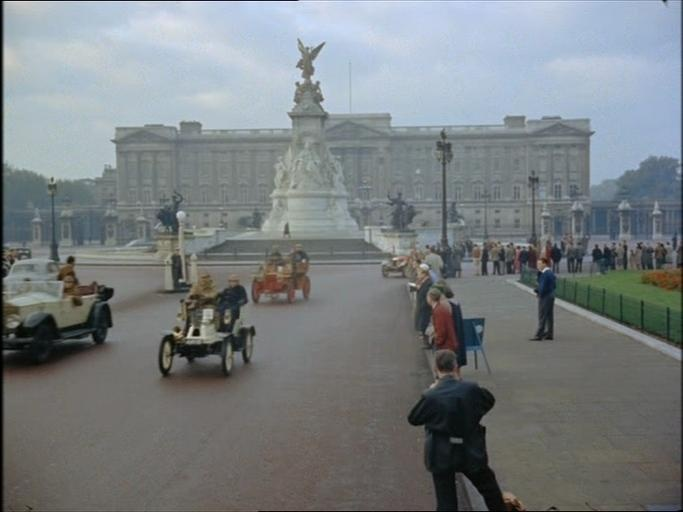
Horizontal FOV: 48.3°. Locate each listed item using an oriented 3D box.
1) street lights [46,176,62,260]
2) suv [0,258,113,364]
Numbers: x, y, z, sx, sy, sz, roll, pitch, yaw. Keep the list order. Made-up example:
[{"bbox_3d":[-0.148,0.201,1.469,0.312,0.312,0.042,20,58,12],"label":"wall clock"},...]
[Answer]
[{"bbox_3d":[-20.774,-2.653,54.678,0.968,6.149,0.946,-1,0,-33],"label":"street lights"},{"bbox_3d":[-6.773,1.324,17.654,2.052,1.781,3.829,-2,-4,12],"label":"suv"}]
